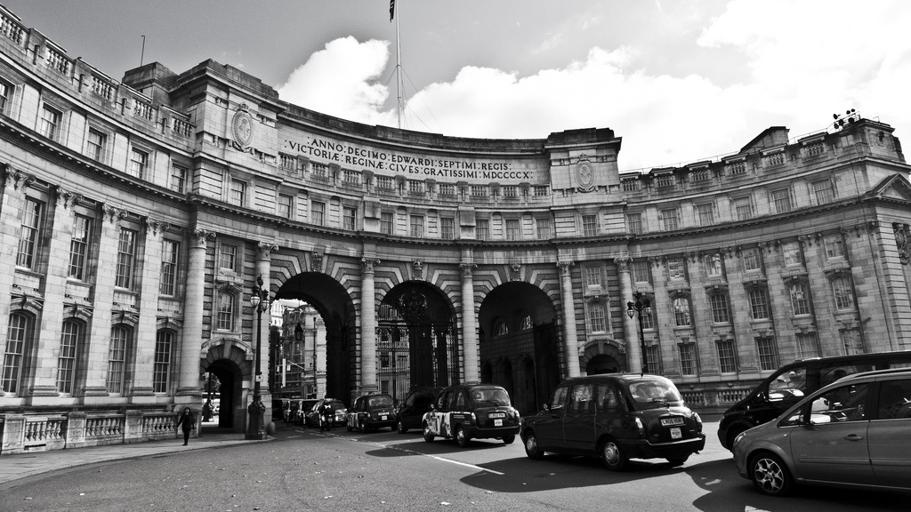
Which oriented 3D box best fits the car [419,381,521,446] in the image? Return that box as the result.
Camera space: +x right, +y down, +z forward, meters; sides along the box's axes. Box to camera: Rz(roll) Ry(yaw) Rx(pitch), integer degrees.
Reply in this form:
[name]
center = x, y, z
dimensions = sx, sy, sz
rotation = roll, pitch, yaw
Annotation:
[car]
center = 0.808, 9.219, 42.329
dimensions = 3.609, 3.157, 7.753
rotation = 2, -6, -25
